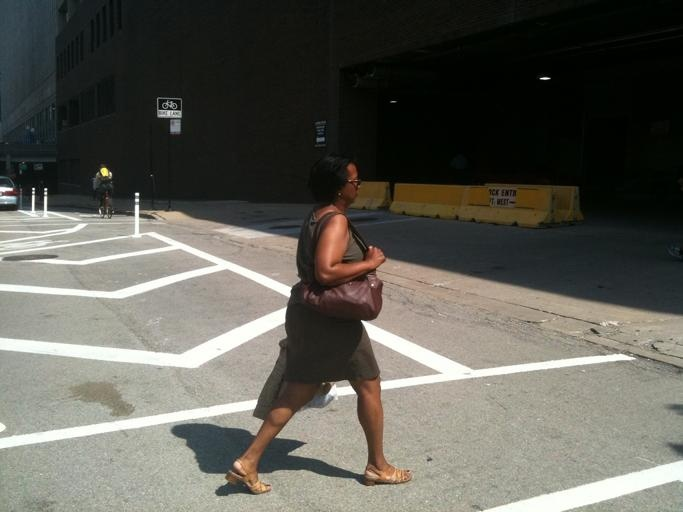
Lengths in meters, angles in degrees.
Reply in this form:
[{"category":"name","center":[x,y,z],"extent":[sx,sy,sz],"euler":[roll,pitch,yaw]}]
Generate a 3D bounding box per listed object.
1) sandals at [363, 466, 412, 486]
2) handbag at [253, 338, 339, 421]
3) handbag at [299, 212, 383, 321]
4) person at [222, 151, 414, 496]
[{"category":"sandals","center":[0.298,1.415,3.172],"extent":[0.269,0.115,0.131],"euler":[-3,-2,-7]},{"category":"handbag","center":[-0.299,0.880,3.175],"extent":[0.447,0.576,0.281],"euler":[12,-17,10]},{"category":"handbag","center":[-0.035,0.069,2.895],"extent":[0.533,0.649,0.342],"euler":[0,10,-2]},{"category":"person","center":[-0.115,0.447,3.024],"extent":[1.093,2.113,0.449],"euler":[-2,10,-12]}]
